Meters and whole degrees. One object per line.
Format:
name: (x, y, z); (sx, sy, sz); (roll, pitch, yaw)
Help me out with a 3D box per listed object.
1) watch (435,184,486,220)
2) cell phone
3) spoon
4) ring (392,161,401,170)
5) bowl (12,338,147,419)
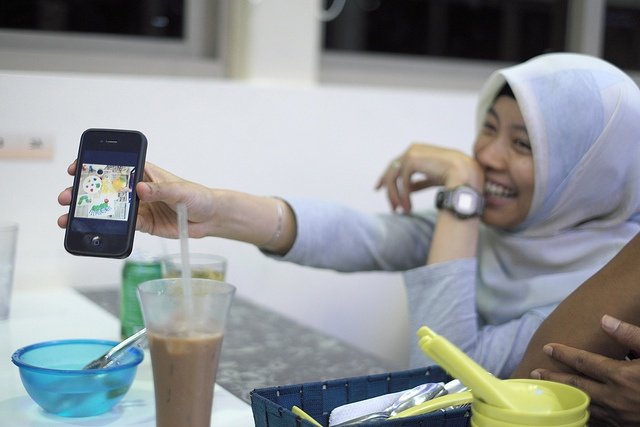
watch: (0.321, -0.028, 1.423); (0.098, 0.064, 0.096); (7, -5, -4)
cell phone: (-0.398, -0.039, 1.127); (0.150, 0.226, 0.076); (5, 12, 9)
spoon: (0.110, 0.318, 1.026); (0.119, 0.021, 0.033); (-14, 31, -24)
ring: (0.194, -0.122, 1.568); (0.019, 0.021, 0.005); (1, -6, 32)
bowl: (-0.465, 0.319, 1.197); (0.237, 0.112, 0.248); (5, 1, 0)
